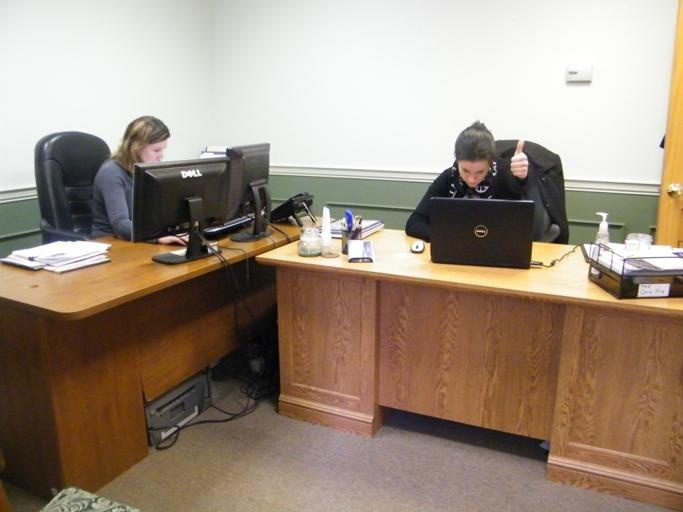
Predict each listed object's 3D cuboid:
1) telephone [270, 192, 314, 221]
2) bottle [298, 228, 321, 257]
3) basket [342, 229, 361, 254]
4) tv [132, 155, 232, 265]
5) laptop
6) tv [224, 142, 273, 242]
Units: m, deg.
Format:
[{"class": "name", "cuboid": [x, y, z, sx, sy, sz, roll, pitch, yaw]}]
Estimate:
[{"class": "telephone", "cuboid": [-0.329, -0.340, 3.629, 0.240, 0.170, 0.192, -10, 16, 30]}, {"class": "bottle", "cuboid": [-0.176, -0.074, 3.000, 0.131, 0.162, 0.139, 10, 14, 41]}, {"class": "basket", "cuboid": [0.049, -0.082, 3.004, 0.113, 0.144, 0.121, 2, 4, 9]}, {"class": "tv", "cuboid": [-0.868, -0.243, 2.874, 0.175, 0.469, 0.503, 26, 28, 37]}, {"class": "laptop", "cuboid": [0.715, -0.227, 2.705, 0.469, 0.371, 0.358, 2, 14, 11]}, {"class": "tv", "cuboid": [-0.574, -0.380, 3.265, 0.178, 0.552, 0.498, 12, 18, 23]}]
